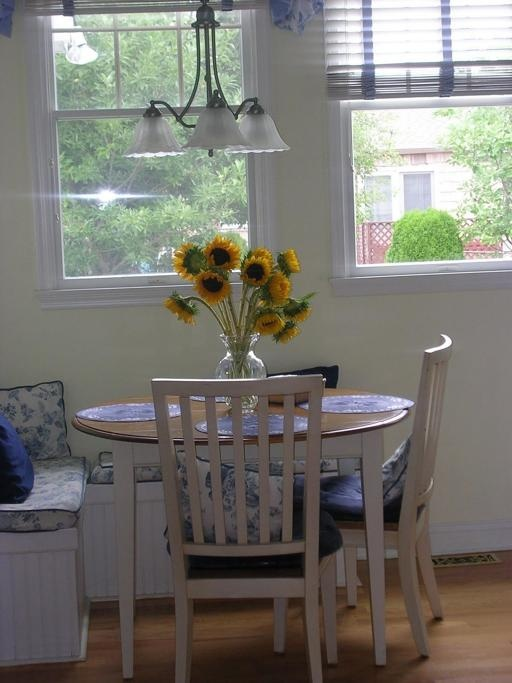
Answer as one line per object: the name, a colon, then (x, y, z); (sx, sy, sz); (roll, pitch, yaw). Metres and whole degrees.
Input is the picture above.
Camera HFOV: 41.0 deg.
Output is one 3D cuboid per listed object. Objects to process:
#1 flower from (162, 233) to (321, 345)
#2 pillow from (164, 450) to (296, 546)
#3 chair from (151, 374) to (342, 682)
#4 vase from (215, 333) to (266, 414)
flower: (-0.037, -0.165, 2.070); (0.418, 0.393, 0.369); (-4, 9, -2)
pillow: (-0.046, 0.371, 1.756); (0.267, 0.227, 0.111); (3, -1, 9)
chair: (-0.009, 0.526, 1.810); (0.464, 0.918, 0.607); (-2, 3, 2)
vase: (-0.045, 0.097, 2.123); (0.172, 0.245, 0.169); (-8, 5, -32)
